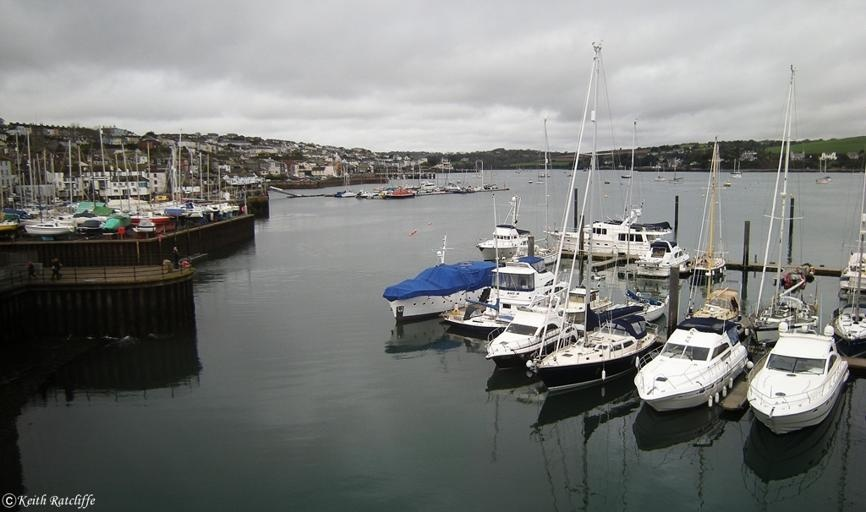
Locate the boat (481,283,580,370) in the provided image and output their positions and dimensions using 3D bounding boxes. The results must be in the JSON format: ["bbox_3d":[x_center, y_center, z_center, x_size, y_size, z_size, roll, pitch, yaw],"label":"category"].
[{"bbox_3d":[7.064,5.285,42.981,3.375,4.198,10.330,8,14,39],"label":"boat"}]

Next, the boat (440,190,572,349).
[{"bbox_3d":[3.444,2.635,51.117,7.721,12.059,11.590,-2,0,32],"label":"boat"}]

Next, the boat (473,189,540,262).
[{"bbox_3d":[9.024,-3.056,72.363,4.281,7.291,12.638,20,17,32],"label":"boat"}]

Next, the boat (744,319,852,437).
[{"bbox_3d":[21.951,7.514,36.552,6.642,4.691,12.613,5,10,36],"label":"boat"}]

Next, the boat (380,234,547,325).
[{"bbox_3d":[2.088,1.582,50.746,13.194,4.526,4.133,-14,21,-25],"label":"boat"}]
